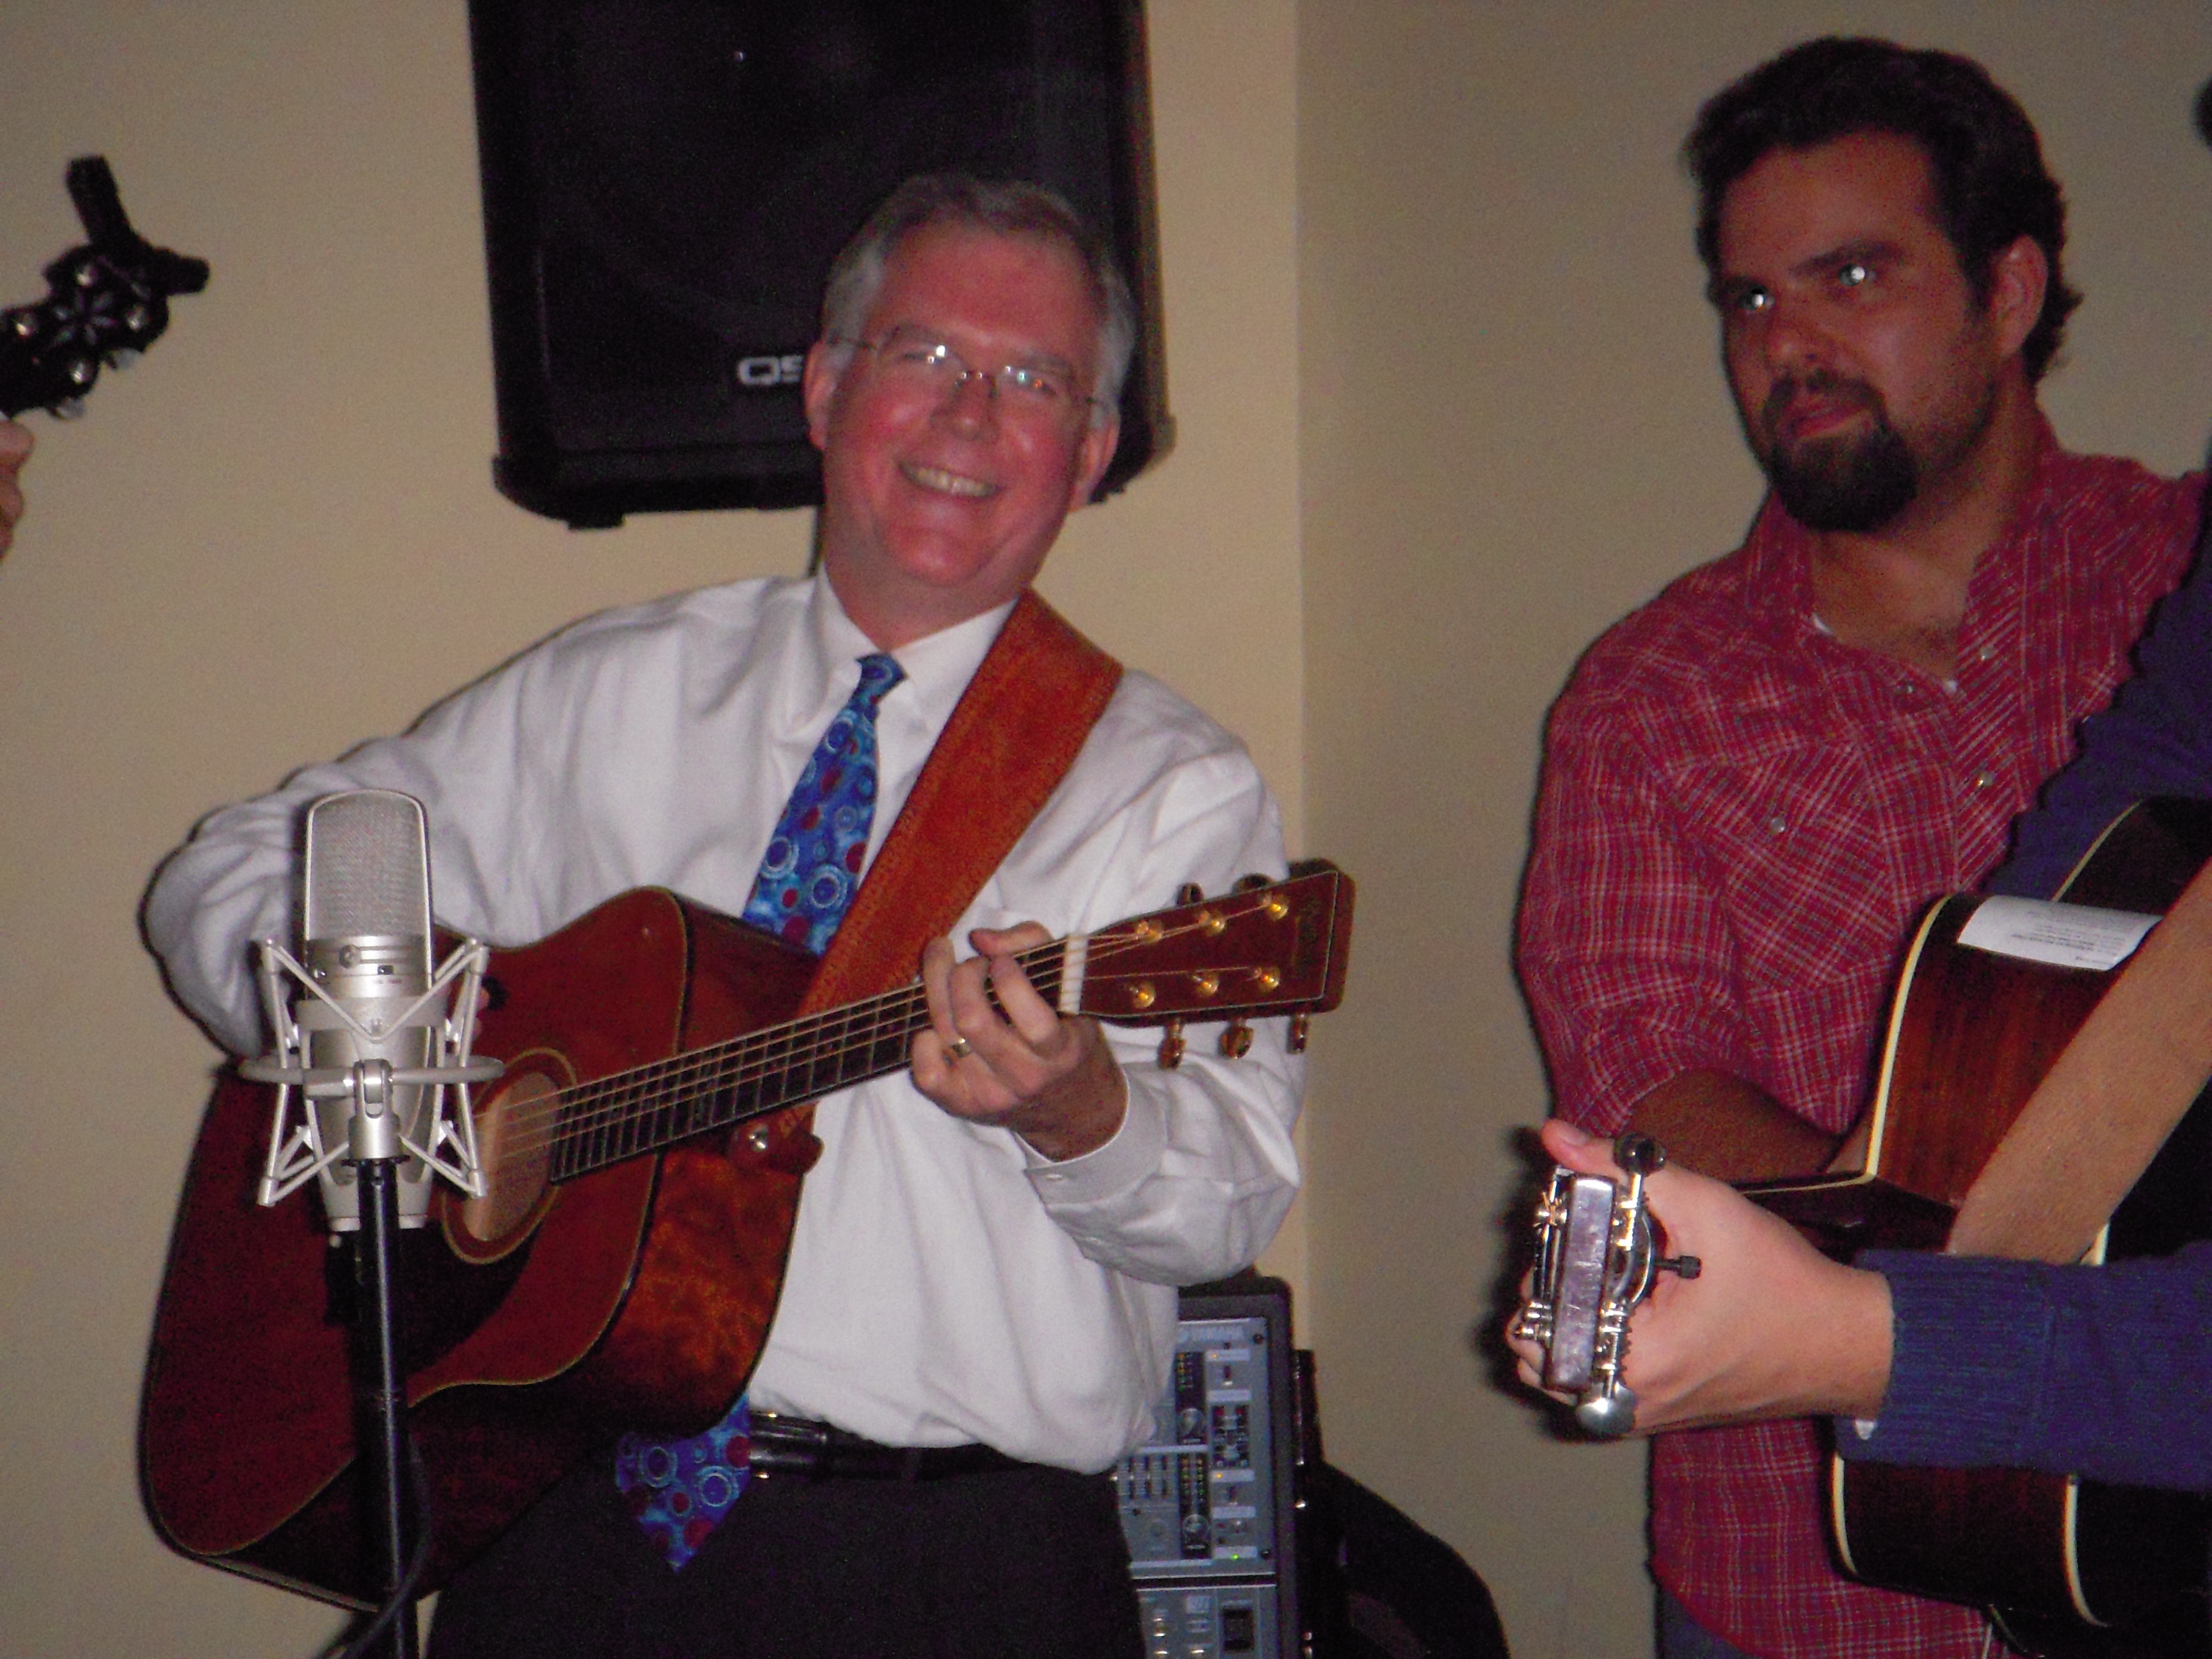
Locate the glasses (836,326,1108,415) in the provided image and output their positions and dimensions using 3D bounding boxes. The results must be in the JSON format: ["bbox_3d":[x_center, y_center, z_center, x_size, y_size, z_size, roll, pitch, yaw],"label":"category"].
[{"bbox_3d":[-0.150,-0.540,2.809,0.186,0.035,0.111,11,31,-9],"label":"glasses"}]

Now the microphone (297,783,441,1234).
[{"bbox_3d":[-0.657,0.161,2.155,0.182,0.393,0.232,-1,7,-17],"label":"microphone"}]
